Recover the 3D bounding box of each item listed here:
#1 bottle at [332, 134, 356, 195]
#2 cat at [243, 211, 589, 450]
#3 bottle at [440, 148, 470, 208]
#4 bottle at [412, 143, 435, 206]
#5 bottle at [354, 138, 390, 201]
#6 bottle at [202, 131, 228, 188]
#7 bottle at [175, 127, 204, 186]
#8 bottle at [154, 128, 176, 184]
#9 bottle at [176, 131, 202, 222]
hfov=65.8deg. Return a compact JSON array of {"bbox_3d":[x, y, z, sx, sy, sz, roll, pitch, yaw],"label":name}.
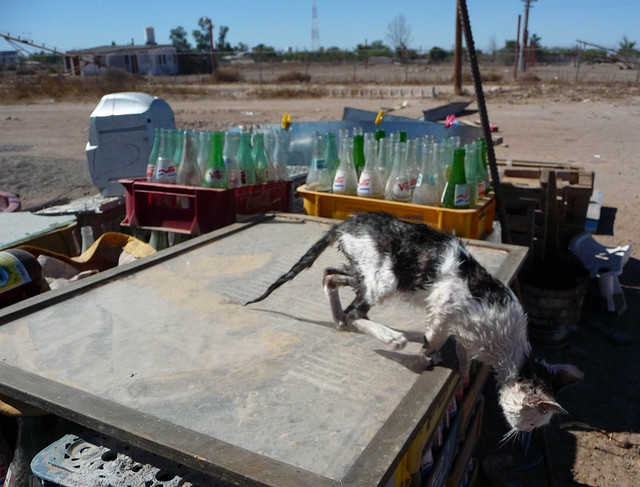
[{"bbox_3d":[0.180,-0.605,3.816,0.181,0.440,0.218,-2,17,2],"label":"bottle"},{"bbox_3d":[0.526,0.357,2.346,1.296,0.900,0.484,8,20,32],"label":"cat"},{"bbox_3d":[0.924,-0.435,3.370,0.195,0.417,0.116,1,17,13],"label":"bottle"},{"bbox_3d":[0.753,-0.486,3.513,0.170,0.434,0.139,-10,18,-21],"label":"bottle"},{"bbox_3d":[0.375,-0.478,3.769,0.230,0.647,0.247,1,18,0],"label":"bottle"},{"bbox_3d":[-0.843,-0.653,3.887,0.202,0.416,0.279,-7,17,-13],"label":"bottle"},{"bbox_3d":[-1.050,-0.672,3.946,0.228,0.416,0.301,-15,20,-34],"label":"bottle"},{"bbox_3d":[-1.270,-0.689,3.977,0.173,0.411,0.195,-12,19,-27],"label":"bottle"},{"bbox_3d":[-1.077,-0.543,3.991,0.224,0.767,0.237,9,29,-5],"label":"bottle"}]
